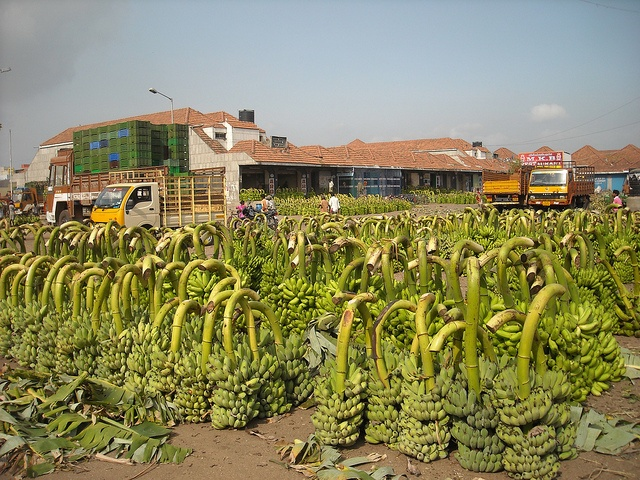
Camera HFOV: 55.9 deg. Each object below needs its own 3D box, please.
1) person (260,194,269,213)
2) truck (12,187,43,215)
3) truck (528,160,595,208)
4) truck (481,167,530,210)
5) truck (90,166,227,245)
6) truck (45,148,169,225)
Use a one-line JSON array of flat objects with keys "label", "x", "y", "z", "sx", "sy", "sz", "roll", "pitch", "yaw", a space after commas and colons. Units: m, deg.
[{"label": "person", "x": -1.919, "y": -1.224, "z": 21.052, "sx": 0.186, "sy": 0.482, "sz": 0.767, "roll": 0, "pitch": 2, "yaw": -4}, {"label": "truck", "x": -18.849, "y": -2.519, "z": 38.710, "sx": 1.531, "sy": 1.668, "sz": 2.813, "roll": -1, "pitch": 2, "yaw": -28}, {"label": "truck", "x": 11.572, "y": -2.574, "z": 28.794, "sx": 1.891, "sy": 2.540, "sz": 4.541, "roll": 1, "pitch": 4, "yaw": 33}, {"label": "truck", "x": 9.147, "y": -2.509, "z": 29.172, "sx": 1.302, "sy": 1.537, "sz": 2.587, "roll": 1, "pitch": 9, "yaw": 26}, {"label": "truck", "x": -5.085, "y": -1.225, "z": 18.979, "sx": 2.822, "sy": 2.613, "sz": 4.071, "roll": 0, "pitch": 2, "yaw": 36}, {"label": "truck", "x": -7.164, "y": -2.151, "z": 23.500, "sx": 2.492, "sy": 3.623, "sz": 6.041, "roll": 2, "pitch": 4, "yaw": 43}]
